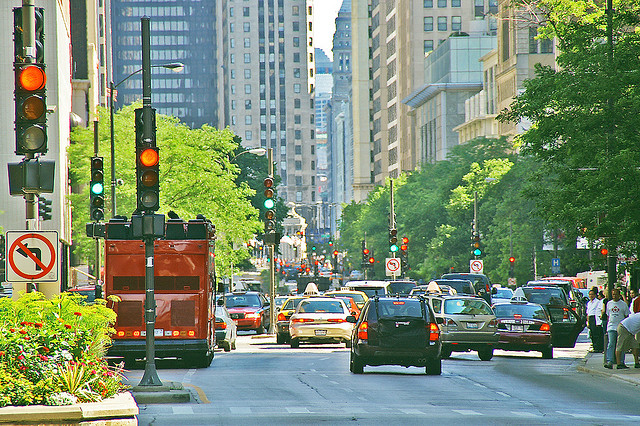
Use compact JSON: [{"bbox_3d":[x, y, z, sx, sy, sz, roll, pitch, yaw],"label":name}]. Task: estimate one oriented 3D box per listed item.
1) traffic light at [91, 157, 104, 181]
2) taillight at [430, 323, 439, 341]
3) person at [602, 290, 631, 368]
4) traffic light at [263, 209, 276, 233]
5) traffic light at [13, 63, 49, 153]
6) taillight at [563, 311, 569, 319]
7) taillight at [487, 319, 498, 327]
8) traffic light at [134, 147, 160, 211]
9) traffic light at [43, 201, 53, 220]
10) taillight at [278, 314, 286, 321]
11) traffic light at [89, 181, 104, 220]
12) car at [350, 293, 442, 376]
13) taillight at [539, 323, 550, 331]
[{"bbox_3d":[-8.834,-1.778,58.890,0.416,0.929,0.472,1,-4,-13],"label":"traffic light"},{"bbox_3d":[3.760,3.933,49.698,0.341,0.582,0.148,1,-4,-14],"label":"taillight"},{"bbox_3d":[10.382,4.054,52.694,0.942,2.666,0.740,-2,0,-9],"label":"person"},{"bbox_3d":[-2.272,0.304,66.121,0.376,1.059,0.940,1,-4,-5],"label":"traffic light"},{"bbox_3d":[-8.131,-3.007,41.838,0.934,2.546,0.590,1,-4,-5],"label":"traffic light"},{"bbox_3d":[9.751,4.027,59.554,0.251,0.273,0.143,1,-4,-10],"label":"taillight"},{"bbox_3d":[6.295,3.995,54.835,0.137,0.276,0.491,-3,-5,36],"label":"taillight"},{"bbox_3d":[-5.328,-1.088,45.642,0.687,1.963,0.419,0,-4,-2],"label":"traffic light"},{"bbox_3d":[-9.282,-0.103,50.540,0.255,0.595,1.053,1,-4,-12],"label":"traffic light"},{"bbox_3d":[-1.681,4.380,63.222,0.410,0.292,0.253,-2,-5,26],"label":"taillight"},{"bbox_3d":[-8.818,-0.539,58.828,0.448,1.528,0.661,1,-4,-16],"label":"traffic light"},{"bbox_3d":[2.199,3.790,52.338,3.281,2.474,5.579,2,7,-7],"label":"car"},{"bbox_3d":[8.396,4.263,56.248,0.368,0.282,0.114,1,-4,-13],"label":"taillight"}]
